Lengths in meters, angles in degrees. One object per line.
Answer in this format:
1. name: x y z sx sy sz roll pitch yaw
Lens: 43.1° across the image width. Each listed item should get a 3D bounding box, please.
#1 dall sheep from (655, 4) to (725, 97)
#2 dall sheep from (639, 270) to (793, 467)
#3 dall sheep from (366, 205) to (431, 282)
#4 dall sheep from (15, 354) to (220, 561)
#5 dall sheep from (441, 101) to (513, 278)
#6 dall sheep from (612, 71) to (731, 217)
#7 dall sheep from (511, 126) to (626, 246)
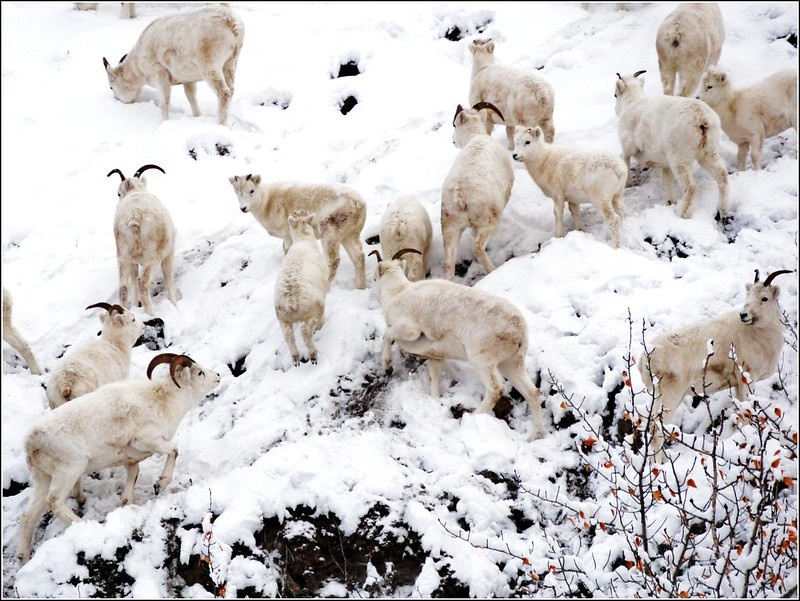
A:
1. dall sheep: 4.697 -3.987 16.205 0.608 1.352 1.705 10 65 26
2. dall sheep: 3.836 0.593 12.183 1.976 1.608 1.025 -22 47 0
3. dall sheep: 0.156 -0.927 15.296 0.698 1.420 1.767 0 10 7
4. dall sheep: -3.466 1.829 12.775 2.686 2.127 0.706 -12 16 -32
5. dall sheep: 1.205 -1.660 15.633 0.922 2.271 2.735 3 25 4
6. dall sheep: 3.976 -2.429 15.309 0.816 2.117 2.321 -12 18 -18
7. dall sheep: 2.506 -1.639 15.063 1.443 1.295 0.523 28 43 36
